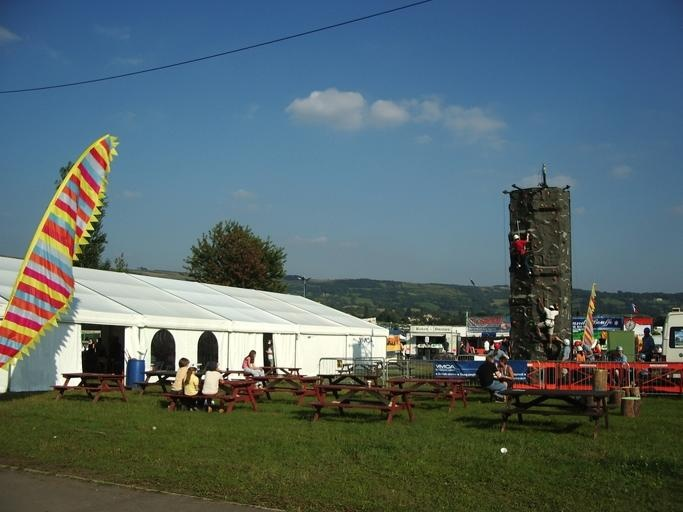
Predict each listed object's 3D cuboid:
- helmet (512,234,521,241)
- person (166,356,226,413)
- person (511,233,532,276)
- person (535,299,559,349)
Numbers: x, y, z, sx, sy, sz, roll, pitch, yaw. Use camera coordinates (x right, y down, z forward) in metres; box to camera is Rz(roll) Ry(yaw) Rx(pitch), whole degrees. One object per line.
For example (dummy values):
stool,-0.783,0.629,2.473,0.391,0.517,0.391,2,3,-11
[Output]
helmet,6.483,-0.652,32.488,0.227,0.211,0.386,5,10,-14
person,-3.947,3.549,24.004,1.396,0.684,1.394,0,-2,-10
person,6.614,-0.003,32.337,0.333,1.564,0.850,12,-17,-40
person,7.473,2.455,31.687,0.815,1.797,0.367,-2,-13,10
